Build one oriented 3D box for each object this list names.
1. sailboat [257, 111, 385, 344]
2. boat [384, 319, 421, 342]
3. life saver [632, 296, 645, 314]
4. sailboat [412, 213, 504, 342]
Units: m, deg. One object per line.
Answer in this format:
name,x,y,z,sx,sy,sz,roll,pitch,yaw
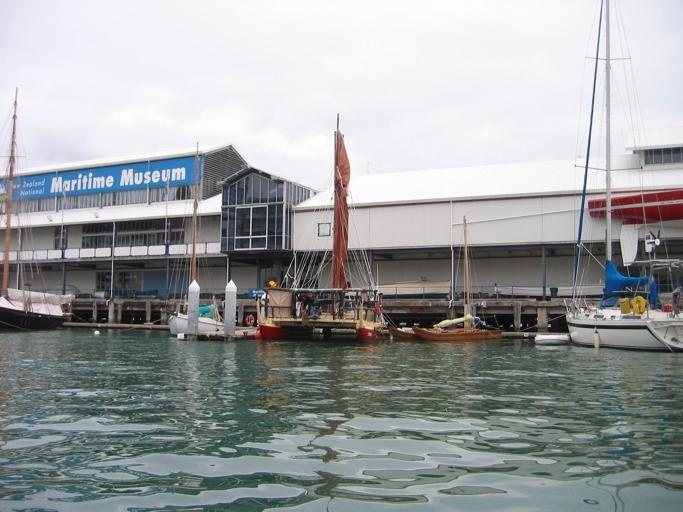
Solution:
sailboat,-0.347,-0.837,41.964,6.632,12.651,15.262,1,-6,6
boat,3.090,3.885,37.426,1.867,0.564,0.669,8,-18,34
life saver,12.144,2.012,29.556,0.456,0.706,0.509,-4,-8,17
sailboat,6.853,0.987,41.221,4.078,7.885,12.827,-3,-8,14
